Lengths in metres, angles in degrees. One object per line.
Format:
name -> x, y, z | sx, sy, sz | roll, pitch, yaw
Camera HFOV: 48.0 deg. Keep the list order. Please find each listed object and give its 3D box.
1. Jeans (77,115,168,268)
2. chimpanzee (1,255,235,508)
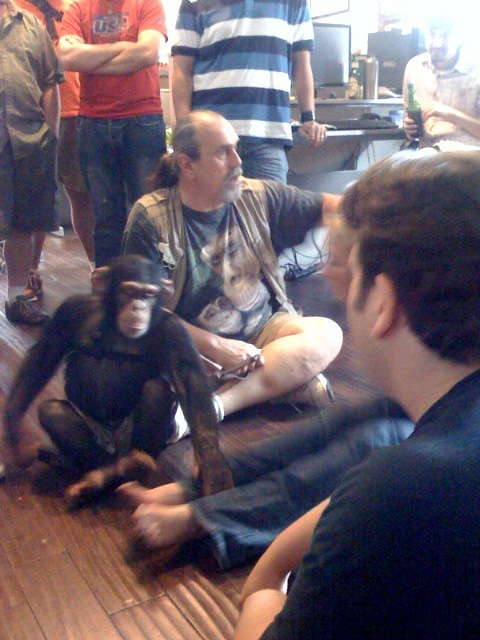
Jeans -> -0.426, -0.431, 1.955 | 0.292, 0.606, 0.187 | 3, 5, 7
chimpanzee -> -0.200, 0.125, 0.874 | 0.380, 0.459, 0.122 | 1, 18, -1
